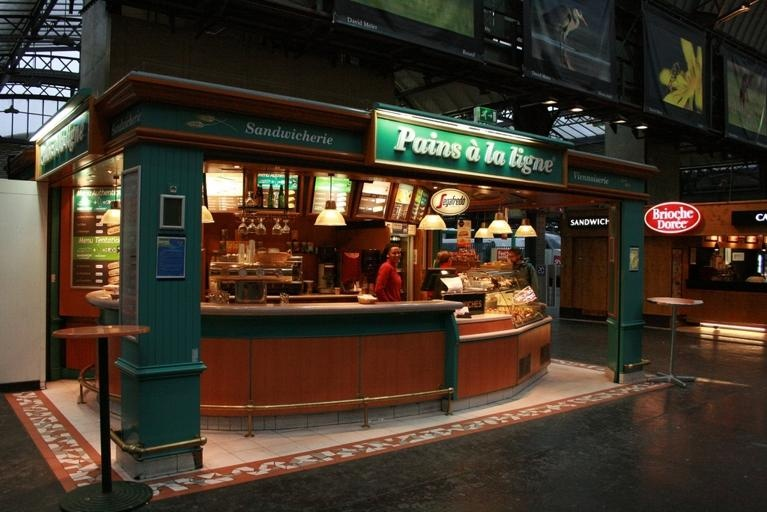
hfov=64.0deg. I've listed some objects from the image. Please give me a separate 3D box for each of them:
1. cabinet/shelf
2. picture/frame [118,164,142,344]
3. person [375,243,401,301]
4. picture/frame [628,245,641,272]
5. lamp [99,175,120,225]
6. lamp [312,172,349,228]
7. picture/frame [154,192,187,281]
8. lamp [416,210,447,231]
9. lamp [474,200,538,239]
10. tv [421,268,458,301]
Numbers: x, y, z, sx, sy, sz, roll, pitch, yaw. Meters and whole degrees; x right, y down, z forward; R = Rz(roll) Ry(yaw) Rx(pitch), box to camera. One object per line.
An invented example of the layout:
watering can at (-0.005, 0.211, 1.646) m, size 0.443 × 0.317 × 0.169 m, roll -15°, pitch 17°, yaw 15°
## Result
cabinet/shelf at (2.004, 0.736, 10.698) m, size 0.951 × 0.850 × 1.691 m, roll -4°, pitch -4°, yaw 37°
picture/frame at (-3.162, -0.106, 7.666) m, size 0.278 × 1.986 × 0.742 m, roll -5°, pitch 10°, yaw -33°
person at (0.055, 0.282, 9.985) m, size 0.406 × 0.893 × 0.829 m, roll 0°, pitch 8°, yaw -1°
picture/frame at (4.579, 0.057, 11.268) m, size 0.561 × 0.498 × 0.063 m, roll -1°, pitch -1°, yaw -43°
lamp at (-4.553, -0.877, 10.202) m, size 0.314 × 0.883 × 1.102 m, roll -3°, pitch 9°, yaw -25°
lamp at (-0.860, -0.919, 9.975) m, size 0.589 × 0.800 × 0.553 m, roll 5°, pitch 17°, yaw 18°
picture/frame at (-2.638, -0.221, 7.597) m, size 0.357 × 1.043 × 0.194 m, roll -2°, pitch 9°, yaw -16°
lamp at (0.951, -0.670, 11.736) m, size 0.497 × 0.438 × 0.446 m, roll -1°, pitch 4°, yaw -19°
lamp at (3.272, -0.937, 16.235) m, size 1.719 × 0.584 × 1.618 m, roll -1°, pitch -6°, yaw 15°
tv at (0.880, 0.457, 9.915) m, size 0.469 × 0.460 × 0.423 m, roll 5°, pitch 9°, yaw 26°
